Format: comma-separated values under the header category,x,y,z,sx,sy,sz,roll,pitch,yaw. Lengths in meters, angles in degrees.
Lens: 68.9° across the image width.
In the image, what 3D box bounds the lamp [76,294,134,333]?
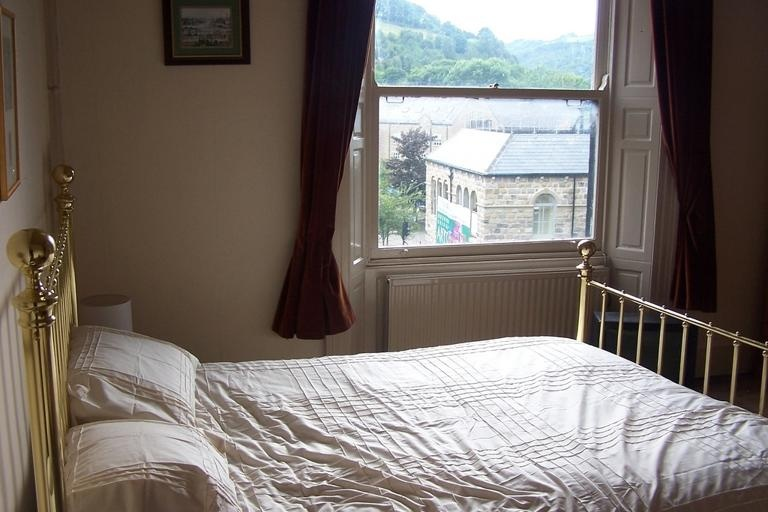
category,x,y,z,sx,sy,sz,roll,pitch,yaw
lamp,-1.622,0.314,3.302,0.265,0.216,0.269,2,6,-5

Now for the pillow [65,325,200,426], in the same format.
category,x,y,z,sx,sy,sz,roll,pitch,yaw
pillow,-1.024,0.533,2.362,0.451,0.122,0.454,21,29,-41

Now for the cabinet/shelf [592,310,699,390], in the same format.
category,x,y,z,sx,sy,sz,roll,pitch,yaw
cabinet/shelf,1.639,0.589,3.508,0.552,0.583,0.311,3,3,-3
